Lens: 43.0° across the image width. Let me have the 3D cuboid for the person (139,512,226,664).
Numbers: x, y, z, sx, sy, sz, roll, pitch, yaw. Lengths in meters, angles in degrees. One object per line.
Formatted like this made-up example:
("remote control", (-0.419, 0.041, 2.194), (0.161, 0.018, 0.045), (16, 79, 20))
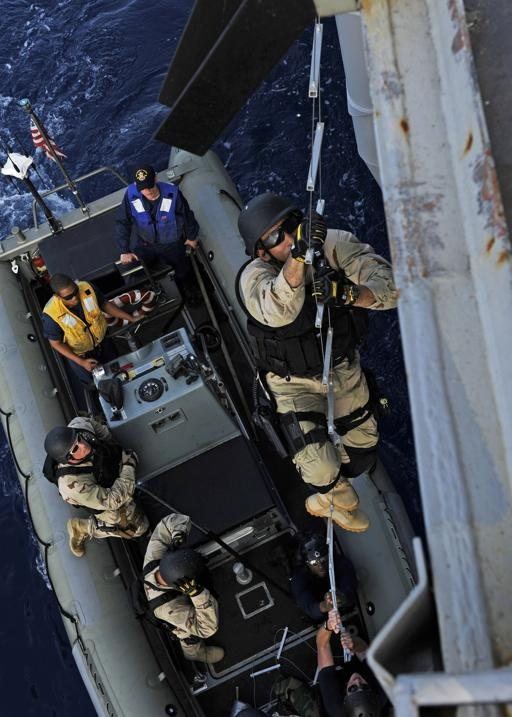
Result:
("person", (-0.475, 1.522, 4.293), (0.340, 0.500, 0.984), (-27, -10, 0))

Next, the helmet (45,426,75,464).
("helmet", (-1.299, 0.565, 4.334), (0.250, 0.197, 0.180), (5, 74, 51))

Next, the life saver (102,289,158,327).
("life saver", (-1.136, -0.461, 5.869), (0.367, 0.103, 0.343), (-24, 22, 9))

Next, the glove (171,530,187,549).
("glove", (-0.515, 1.186, 4.283), (0.095, 0.044, 0.116), (0, 68, 3))

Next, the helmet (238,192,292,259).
("helmet", (0.020, -0.674, 3.297), (0.246, 0.303, 0.237), (38, 31, 9))

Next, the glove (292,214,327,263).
("glove", (0.220, -0.481, 2.639), (0.130, 0.203, 0.073), (-3, 3, -40))

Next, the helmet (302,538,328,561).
("helmet", (0.377, 1.207, 4.121), (0.126, 0.144, 0.142), (-7, 35, -13))

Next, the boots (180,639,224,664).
("boots", (-0.350, 1.920, 4.318), (0.359, 0.126, 0.236), (3, -20, -2))

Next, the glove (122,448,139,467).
("glove", (-0.914, 0.707, 4.688), (0.115, 0.043, 0.105), (1, 57, -31))

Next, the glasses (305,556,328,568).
("glasses", (0.392, 1.283, 4.119), (0.106, 0.035, 0.099), (0, 32, -1))

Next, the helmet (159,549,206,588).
("helmet", (-0.468, 1.271, 4.012), (0.259, 0.187, 0.189), (7, -20, -17))

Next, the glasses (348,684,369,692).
("glasses", (0.562, 1.809, 3.591), (0.066, 0.064, 0.018), (-4, 59, -14))
